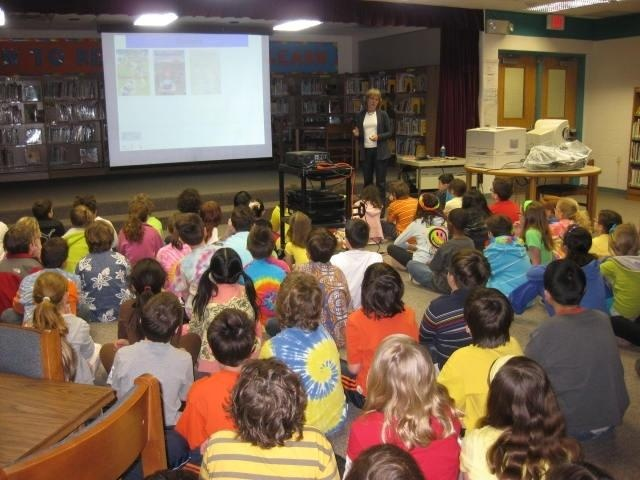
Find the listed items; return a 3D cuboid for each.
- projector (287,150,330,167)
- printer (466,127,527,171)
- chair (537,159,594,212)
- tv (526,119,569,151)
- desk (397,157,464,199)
[{"bbox_3d":[-0.134,-0.864,5.399,0.335,0.154,0.461,-8,13,-23],"label":"projector"},{"bbox_3d":[2.236,-1.178,6.358,0.572,0.559,0.572,-10,15,-37],"label":"printer"},{"bbox_3d":[2.890,-0.644,5.940,0.751,0.621,0.780,0,9,7],"label":"chair"},{"bbox_3d":[2.995,-1.422,6.753,0.440,0.519,0.493,-4,11,-17],"label":"tv"},{"bbox_3d":[1.687,-1.020,7.428,0.722,0.752,0.775,-1,9,-1],"label":"desk"}]
